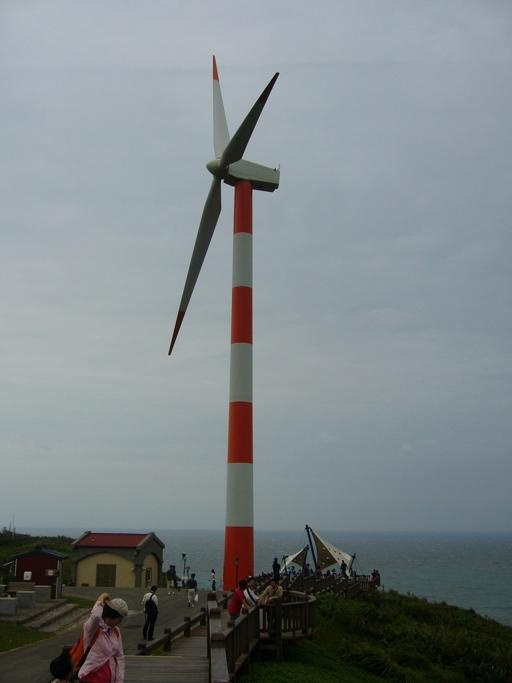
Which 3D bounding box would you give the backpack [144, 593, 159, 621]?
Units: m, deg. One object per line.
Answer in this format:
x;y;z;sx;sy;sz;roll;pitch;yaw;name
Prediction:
-2.961;7.423;19.351;0.339;0.684;0.372;1;-15;-15;backpack

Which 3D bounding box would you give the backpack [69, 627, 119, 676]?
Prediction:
-2.048;3.969;8.828;0.410;0.723;0.525;17;-44;-8;backpack
